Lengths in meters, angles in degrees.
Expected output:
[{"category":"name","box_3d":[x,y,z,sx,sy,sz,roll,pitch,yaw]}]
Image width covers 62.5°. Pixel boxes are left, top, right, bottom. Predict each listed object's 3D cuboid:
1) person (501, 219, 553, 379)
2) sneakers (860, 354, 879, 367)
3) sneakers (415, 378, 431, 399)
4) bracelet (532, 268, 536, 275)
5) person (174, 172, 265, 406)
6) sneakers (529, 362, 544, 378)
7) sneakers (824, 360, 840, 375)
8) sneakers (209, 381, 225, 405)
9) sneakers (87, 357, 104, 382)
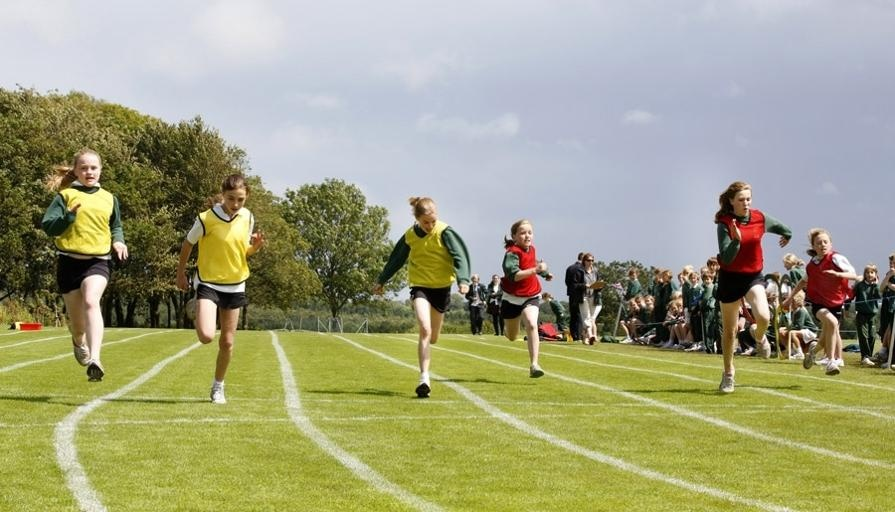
[{"category":"person","box_3d":[1.362,0.763,13.486,0.958,2.826,0.936,2,-5,25]},{"category":"sneakers","box_3d":[10.186,2.526,17.783,0.497,0.215,0.192,8,-10,-32]},{"category":"sneakers","box_3d":[-0.411,2.120,11.844,0.233,0.258,0.263,4,-5,-2]},{"category":"bracelet","box_3d":[1.558,0.250,13.085,0.078,0.075,0.077,12,5,-27]},{"category":"person","box_3d":[-3.556,0.401,11.378,1.133,3.539,1.507,6,-5,-19]},{"category":"sneakers","box_3d":[1.603,2.088,13.399,0.166,0.184,0.404,0,-23,-8]},{"category":"sneakers","box_3d":[7.398,2.128,14.254,0.250,0.244,0.579,1,-11,-1]},{"category":"sneakers","box_3d":[-3.430,2.030,10.950,0.165,0.187,0.443,1,-4,-15]},{"category":"sneakers","box_3d":[-5.473,1.785,11.406,0.192,0.233,0.552,2,-23,-12]}]
